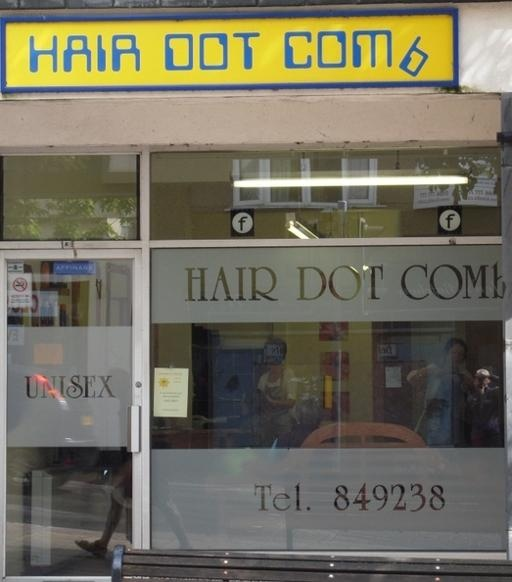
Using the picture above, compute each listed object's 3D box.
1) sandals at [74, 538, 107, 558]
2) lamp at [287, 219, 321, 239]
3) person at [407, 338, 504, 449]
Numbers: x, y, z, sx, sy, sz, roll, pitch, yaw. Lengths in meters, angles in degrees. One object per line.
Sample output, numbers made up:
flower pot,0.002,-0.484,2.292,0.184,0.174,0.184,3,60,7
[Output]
sandals,-1.202,1.835,10.414,0.234,0.120,0.015,-1,-3,8
lamp,0.322,-0.441,10.546,0.184,0.144,0.044,23,5,6
person,1.466,0.745,10.404,0.581,1.264,0.359,1,-13,11
